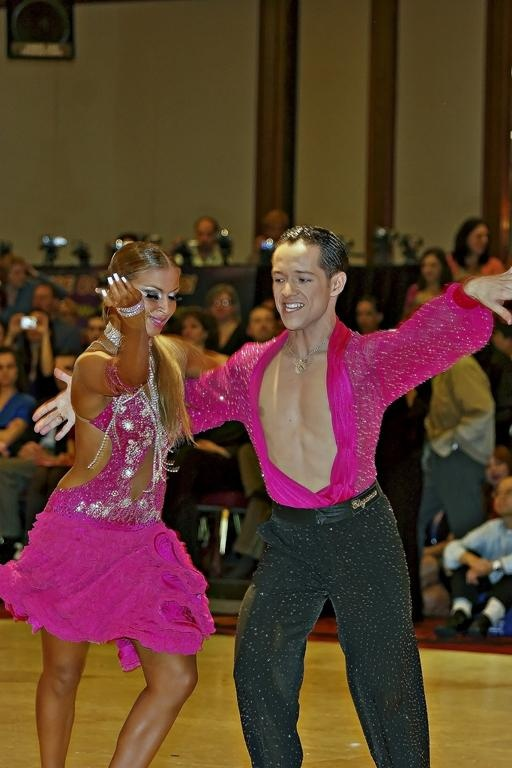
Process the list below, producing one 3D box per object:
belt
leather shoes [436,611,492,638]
[{"bbox_3d":[0.149,0.264,1.684,0.239,0.083,0.127,1,8,6],"label":"belt"},{"bbox_3d":[1.147,1.332,4.329,0.355,0.128,0.119,1,-6,-1],"label":"leather shoes"}]
